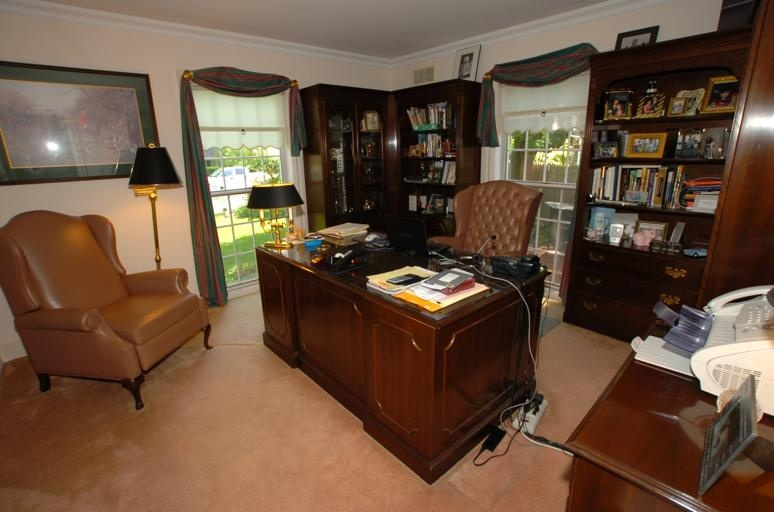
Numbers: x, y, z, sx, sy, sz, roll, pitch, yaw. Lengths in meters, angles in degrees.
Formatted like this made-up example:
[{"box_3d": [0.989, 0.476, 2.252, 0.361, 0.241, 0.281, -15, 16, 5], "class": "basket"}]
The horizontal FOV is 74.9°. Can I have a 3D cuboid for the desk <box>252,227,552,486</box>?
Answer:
[{"box_3d": [0.290, 0.590, 4.157, 1.626, 1.242, 2.520, -16, 22, -41], "class": "desk"}]

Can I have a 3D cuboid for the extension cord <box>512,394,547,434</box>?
[{"box_3d": [1.155, 1.246, 4.041, 0.173, 0.113, 0.306, 21, 43, 36], "class": "extension cord"}]

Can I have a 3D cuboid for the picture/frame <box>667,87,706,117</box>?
[{"box_3d": [2.730, -1.399, 4.585, 0.034, 0.293, 0.309, 10, 2, -37], "class": "picture/frame"}]

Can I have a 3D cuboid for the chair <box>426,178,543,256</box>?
[{"box_3d": [1.102, -0.402, 5.266, 0.942, 1.114, 0.822, -10, 16, -41], "class": "chair"}]

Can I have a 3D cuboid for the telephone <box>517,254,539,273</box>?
[{"box_3d": [1.086, 0.045, 3.884, 0.145, 0.144, 0.122, 7, 19, 19], "class": "telephone"}]

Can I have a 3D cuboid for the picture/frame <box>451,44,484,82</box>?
[{"box_3d": [0.965, -2.273, 5.920, 0.037, 0.524, 0.435, 2, 15, -45], "class": "picture/frame"}]

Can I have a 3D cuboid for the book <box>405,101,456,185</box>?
[{"box_3d": [0.559, -1.417, 6.206, 0.902, 0.860, 0.267, 11, 17, 43], "class": "book"}]

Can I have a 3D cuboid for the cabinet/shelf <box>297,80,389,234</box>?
[{"box_3d": [-0.473, -1.202, 6.239, 1.065, 1.725, 0.423, -11, 17, -29], "class": "cabinet/shelf"}]

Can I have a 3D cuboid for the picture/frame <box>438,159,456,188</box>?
[{"box_3d": [0.725, -1.017, 6.087, 0.234, 0.242, 0.063, 4, -3, 38], "class": "picture/frame"}]

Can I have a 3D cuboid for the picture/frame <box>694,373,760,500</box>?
[{"box_3d": [1.859, 1.006, 2.750, 0.045, 0.614, 0.602, 29, 21, 27], "class": "picture/frame"}]

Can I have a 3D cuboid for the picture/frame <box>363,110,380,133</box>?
[{"box_3d": [-0.191, -1.689, 6.283, 0.259, 0.262, 0.142, -2, 11, -33], "class": "picture/frame"}]

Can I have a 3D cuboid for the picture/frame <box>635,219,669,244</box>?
[{"box_3d": [2.551, -0.232, 4.844, 0.026, 0.234, 0.240, 27, -12, -39], "class": "picture/frame"}]

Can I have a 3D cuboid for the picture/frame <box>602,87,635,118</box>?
[{"box_3d": [2.225, -1.471, 4.849, 0.301, 0.375, 0.062, 6, 11, 33], "class": "picture/frame"}]

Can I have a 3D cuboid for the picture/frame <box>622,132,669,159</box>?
[{"box_3d": [2.456, -1.046, 4.760, 0.270, 0.232, 0.020, 10, 0, 35], "class": "picture/frame"}]
